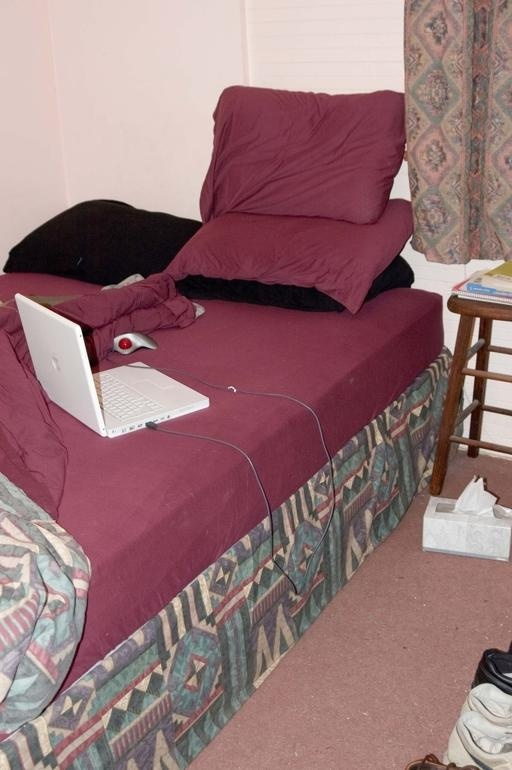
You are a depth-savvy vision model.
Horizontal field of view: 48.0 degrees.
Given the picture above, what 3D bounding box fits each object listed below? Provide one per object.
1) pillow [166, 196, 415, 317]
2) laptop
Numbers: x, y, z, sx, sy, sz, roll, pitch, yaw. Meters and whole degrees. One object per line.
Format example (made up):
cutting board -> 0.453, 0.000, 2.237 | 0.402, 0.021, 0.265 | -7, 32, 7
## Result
pillow -> 0.038, -0.433, 2.151 | 0.744, 0.183, 0.776 | 7, 13, -2
laptop -> -0.301, -0.012, 1.293 | 0.348, 0.295, 0.390 | -14, 28, -34
